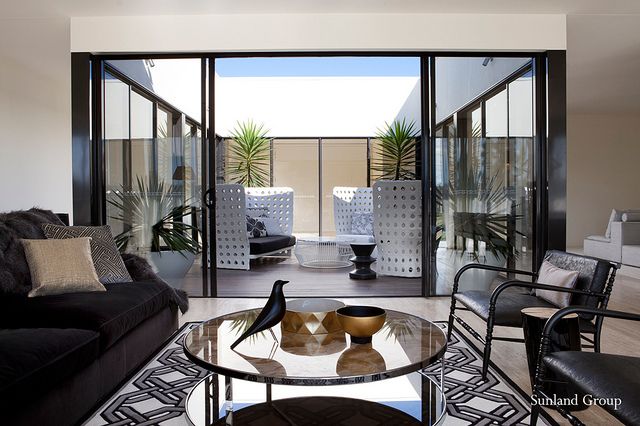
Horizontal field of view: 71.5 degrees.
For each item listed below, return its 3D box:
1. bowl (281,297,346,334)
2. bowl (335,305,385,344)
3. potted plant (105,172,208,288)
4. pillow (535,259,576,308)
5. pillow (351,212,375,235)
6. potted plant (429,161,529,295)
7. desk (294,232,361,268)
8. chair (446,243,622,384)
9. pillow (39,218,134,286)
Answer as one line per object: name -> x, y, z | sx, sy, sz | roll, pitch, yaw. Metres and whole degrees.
bowl -> -0.029, 0.748, 3.177 | 0.405, 0.154, 0.417 | -2, -3, 0
bowl -> 0.288, 0.762, 2.996 | 0.345, 0.204, 0.356 | 0, -3, 0
potted plant -> -1.918, 0.173, 5.307 | 1.192, 1.246, 0.453 | 10, 5, 2
pillow -> 1.850, 0.564, 3.479 | 0.115, 0.265, 0.336 | 4, 5, -4
pillow -> 0.759, 0.200, 7.934 | 0.342, 0.389, 0.093 | -2, -41, 14
potted plant -> 1.731, 0.278, 5.925 | 1.375, 1.881, 1.371 | 1, -4, -1
desk -> 0.167, 0.708, 7.969 | 1.195, 0.466, 1.164 | -3, 4, 30
chair -> 1.721, 0.705, 3.642 | 1.169, 0.935, 0.989 | 1, 0, -7
pillow -> -1.959, 0.330, 3.936 | 0.182, 0.565, 0.590 | -31, -18, 28
